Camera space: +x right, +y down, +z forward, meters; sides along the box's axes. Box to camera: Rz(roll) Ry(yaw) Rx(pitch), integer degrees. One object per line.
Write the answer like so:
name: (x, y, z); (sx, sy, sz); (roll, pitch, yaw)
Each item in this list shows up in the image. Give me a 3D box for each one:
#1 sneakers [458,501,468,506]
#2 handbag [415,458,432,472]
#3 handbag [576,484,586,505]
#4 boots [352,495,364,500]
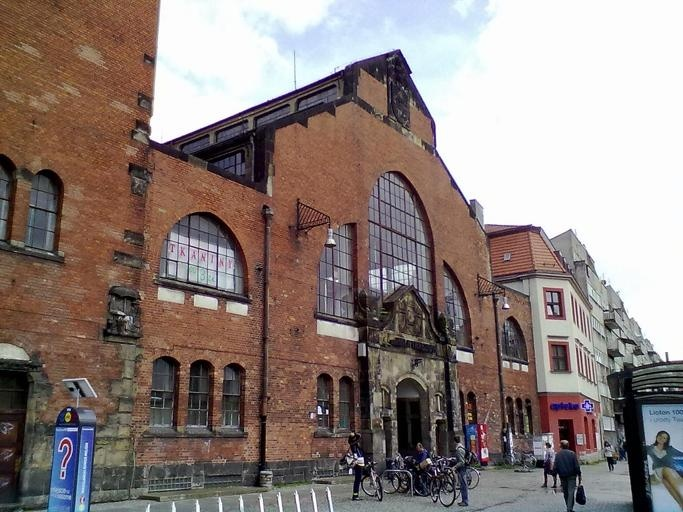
sneakers: (3.876, 7.967, 18.890); (0.273, 0.134, 0.113); (-2, -13, 24)
handbag: (2.982, 7.585, 21.371); (0.440, 0.467, 0.325); (20, -13, -14)
handbag: (6.792, 6.831, 16.902); (0.256, 0.496, 0.517); (-9, -24, 13)
boots: (0.550, 8.220, 19.992); (0.347, 0.181, 0.664); (-5, -24, 2)
